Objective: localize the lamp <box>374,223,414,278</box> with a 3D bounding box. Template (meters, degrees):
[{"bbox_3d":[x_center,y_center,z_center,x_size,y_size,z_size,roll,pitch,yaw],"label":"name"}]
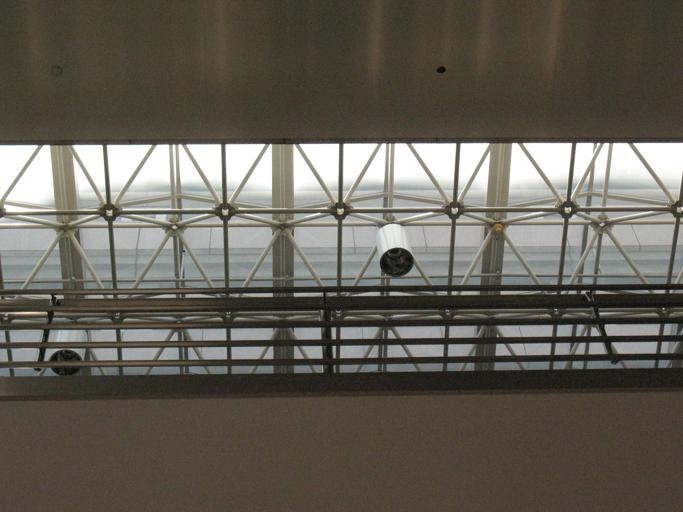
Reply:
[{"bbox_3d":[0.735,-0.126,14.059,0.466,0.935,0.552,-8,-60,2],"label":"lamp"}]
